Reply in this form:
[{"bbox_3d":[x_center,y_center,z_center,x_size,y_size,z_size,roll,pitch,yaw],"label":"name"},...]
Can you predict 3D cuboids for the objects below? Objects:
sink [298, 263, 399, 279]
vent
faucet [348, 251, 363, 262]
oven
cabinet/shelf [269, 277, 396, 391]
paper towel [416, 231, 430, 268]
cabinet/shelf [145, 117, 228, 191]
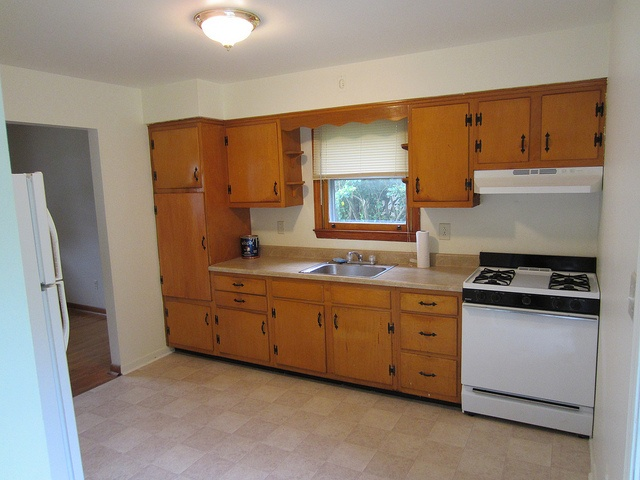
[{"bbox_3d":[0.262,0.285,4.433,0.783,0.107,0.328,-1,9,16],"label":"sink"},{"bbox_3d":[1.576,-0.441,3.633,0.866,0.188,0.251,2,10,32],"label":"vent"},{"bbox_3d":[0.317,0.152,4.582,0.152,0.100,0.131,-1,9,16],"label":"faucet"},{"bbox_3d":[1.506,0.755,3.896,1.056,1.226,0.810,2,4,29],"label":"oven"},{"bbox_3d":[0.143,0.780,4.174,0.908,0.696,0.340,1,4,25],"label":"cabinet/shelf"},{"bbox_3d":[0.893,0.077,4.285,0.113,0.313,0.173,-2,9,11],"label":"paper towel"},{"bbox_3d":[-1.279,-0.778,5.010,0.923,0.910,0.575,3,7,25],"label":"cabinet/shelf"}]
